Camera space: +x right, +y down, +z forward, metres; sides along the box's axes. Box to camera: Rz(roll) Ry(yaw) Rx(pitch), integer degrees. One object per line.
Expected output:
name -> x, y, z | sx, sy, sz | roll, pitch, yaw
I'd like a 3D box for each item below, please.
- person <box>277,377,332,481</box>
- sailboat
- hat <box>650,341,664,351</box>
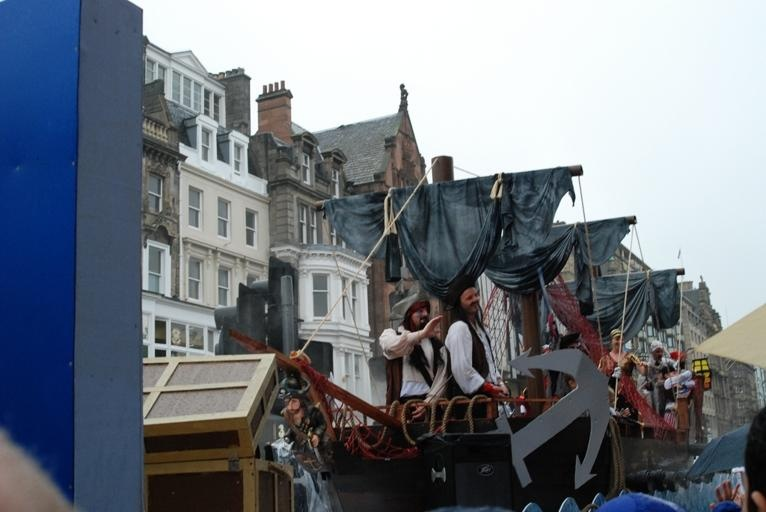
person -> -0.821, 1.904, 10.743 | 0.536, 1.154, 1.041 | -1, -24, -4
sailboat -> 1.762, 1.557, 14.162 | 3.531, 5.042, 7.853 | -15, -27, 41
hat -> 5.878, 1.918, 21.446 | 0.204, 0.218, 0.309 | -1, -1, 17
